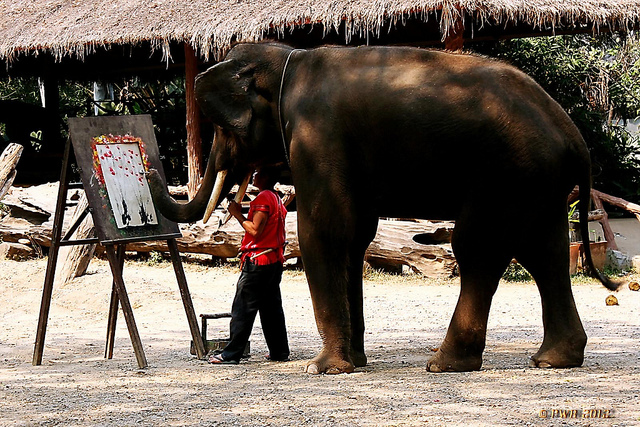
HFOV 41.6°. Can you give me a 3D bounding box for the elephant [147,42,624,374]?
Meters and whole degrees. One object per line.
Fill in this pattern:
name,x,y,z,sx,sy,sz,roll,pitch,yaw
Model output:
elephant,0.582,-0.037,8.771,4.399,3.363,2.061,0,4,18
